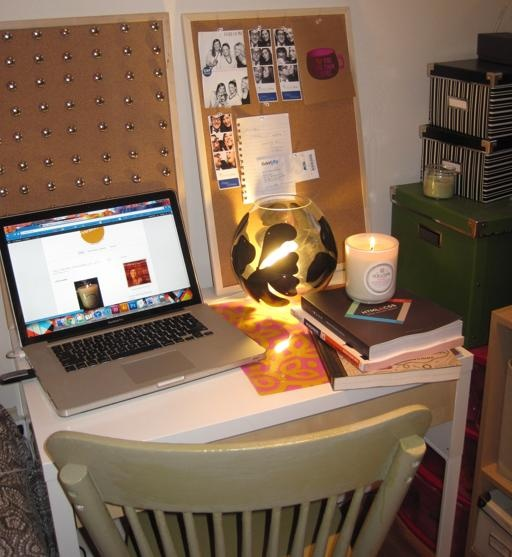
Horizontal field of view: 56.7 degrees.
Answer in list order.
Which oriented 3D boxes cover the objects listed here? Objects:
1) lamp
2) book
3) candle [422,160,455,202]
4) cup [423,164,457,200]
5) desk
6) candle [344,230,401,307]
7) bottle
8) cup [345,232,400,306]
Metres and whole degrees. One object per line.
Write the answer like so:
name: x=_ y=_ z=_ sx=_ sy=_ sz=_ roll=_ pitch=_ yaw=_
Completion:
lamp: x=0.052 y=-0.060 z=0.841 sx=0.200 sy=0.218 sz=0.192 roll=0 pitch=10 yaw=-1
book: x=0.179 y=0.058 z=0.725 sx=0.162 sy=0.056 sz=0.158 roll=-8 pitch=26 yaw=-18
candle: x=0.399 y=-0.209 z=1.034 sx=0.075 sy=0.075 sz=0.073 roll=2 pitch=14 yaw=12
cup: x=0.398 y=-0.211 z=1.033 sx=0.075 sy=0.073 sz=0.073 roll=-1 pitch=15 yaw=0
desk: x=0.003 y=0.291 z=0.889 sx=0.579 sy=0.514 sz=0.372 roll=-10 pitch=40 yaw=-13
candle: x=0.192 y=-0.022 z=0.857 sx=0.116 sy=0.122 sz=0.114 roll=7 pitch=21 yaw=26
bottle: x=0.048 y=-0.057 z=0.937 sx=0.199 sy=0.217 sz=0.191 roll=0 pitch=11 yaw=0
cup: x=0.192 y=-0.014 z=0.849 sx=0.115 sy=0.122 sz=0.115 roll=-3 pitch=21 yaw=1
